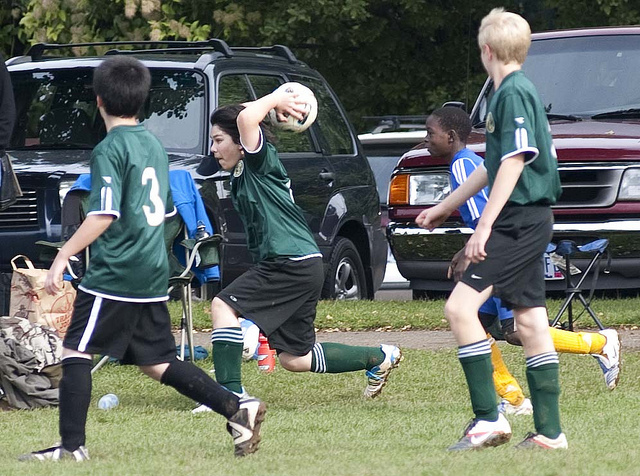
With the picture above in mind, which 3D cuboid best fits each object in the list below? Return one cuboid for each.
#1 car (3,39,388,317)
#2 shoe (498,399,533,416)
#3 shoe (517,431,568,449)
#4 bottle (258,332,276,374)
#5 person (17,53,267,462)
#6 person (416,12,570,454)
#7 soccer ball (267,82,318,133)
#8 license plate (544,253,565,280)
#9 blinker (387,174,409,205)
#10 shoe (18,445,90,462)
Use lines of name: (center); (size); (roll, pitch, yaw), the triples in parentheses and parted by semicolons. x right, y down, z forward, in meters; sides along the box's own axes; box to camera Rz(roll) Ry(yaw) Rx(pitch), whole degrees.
car: (-1.380, -0.677, 9.344); (2.220, 1.820, 3.815); (-2, -3, 40)
shoe: (1.178, 1.021, 6.417); (0.190, 0.078, 0.174); (-1, 5, 5)
shoe: (1.138, 1.027, 5.433); (0.267, 0.088, 0.081); (4, -12, 1)
bottle: (-0.363, 0.819, 7.490); (0.152, 0.268, 0.137); (-4, 20, -12)
person: (-0.960, 0.086, 5.474); (1.140, 2.067, 0.511); (-2, 5, -4)
person: (0.946, -0.039, 5.448); (0.590, 2.266, 0.532); (-1, 5, 10)
soccer ball: (-0.156, -0.766, 6.221); (0.302, 0.298, 0.243); (3, 17, 13)
license plate: (1.782, 0.216, 8.121); (0.138, 0.256, 0.540); (-1, 5, 13)
blinker: (0.687, -0.435, 9.561); (0.107, 0.273, 0.299); (-5, 6, -27)
shoe: (-1.310, 1.084, 5.360); (0.347, 0.106, 0.112); (3, -10, -1)
